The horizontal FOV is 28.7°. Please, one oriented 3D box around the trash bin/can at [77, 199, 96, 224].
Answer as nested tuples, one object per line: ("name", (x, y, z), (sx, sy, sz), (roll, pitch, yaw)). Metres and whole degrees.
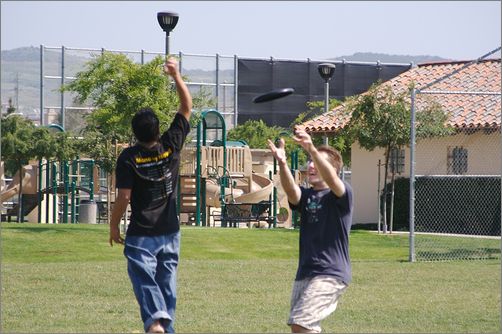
("trash bin/can", (-6.977, 2.014, 41.943), (0.624, 1.084, 0.678), (13, -20, -32))
